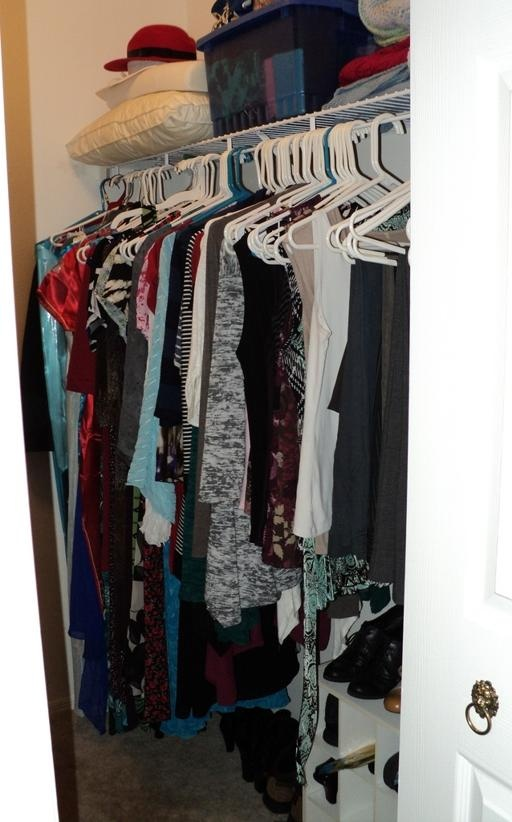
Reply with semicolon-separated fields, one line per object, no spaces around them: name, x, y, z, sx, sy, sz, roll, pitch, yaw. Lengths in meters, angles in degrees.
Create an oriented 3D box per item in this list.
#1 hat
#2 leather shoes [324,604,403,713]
hat;-0.281;-0.984;1.916;0.248;0.094;0.228;-25;44;-27
leather shoes;0.237;0.505;1.425;0.221;0.086;0.123;-2;1;-45
